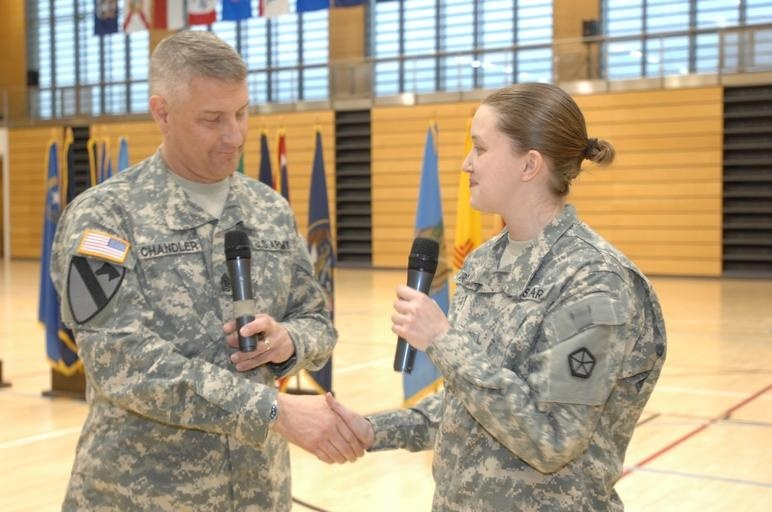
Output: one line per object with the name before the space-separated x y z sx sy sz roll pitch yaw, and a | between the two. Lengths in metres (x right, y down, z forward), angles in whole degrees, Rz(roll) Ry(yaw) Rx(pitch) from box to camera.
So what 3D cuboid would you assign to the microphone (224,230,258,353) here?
microphone | -0.620 0.143 3.060 0.106 0.497 0.241 -5 8 -12
